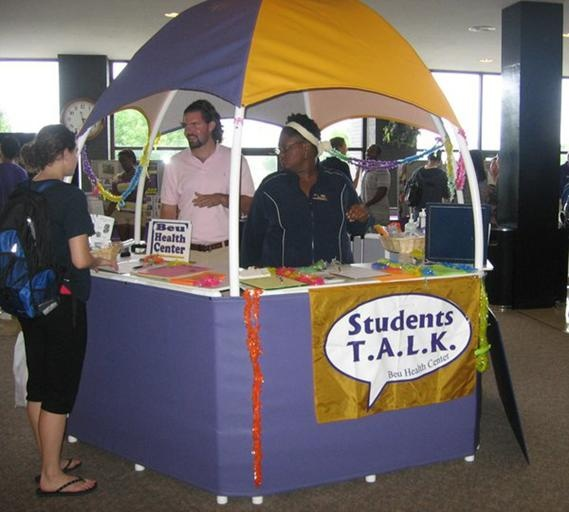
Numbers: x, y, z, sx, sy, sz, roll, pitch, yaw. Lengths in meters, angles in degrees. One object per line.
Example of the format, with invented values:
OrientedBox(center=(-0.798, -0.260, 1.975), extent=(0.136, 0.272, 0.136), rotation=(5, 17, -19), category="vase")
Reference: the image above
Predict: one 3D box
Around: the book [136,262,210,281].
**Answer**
OrientedBox(center=(-0.547, 0.068, 2.531), extent=(0.344, 0.027, 0.358), rotation=(4, 9, 24), category="book")

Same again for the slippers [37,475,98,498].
OrientedBox(center=(-0.989, 1.044, 2.368), extent=(0.185, 0.051, 0.110), rotation=(0, 9, -12), category="slippers")

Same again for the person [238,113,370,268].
OrientedBox(center=(0.114, -0.327, 2.999), extent=(0.720, 0.830, 0.383), rotation=(-1, 7, -8), category="person")
